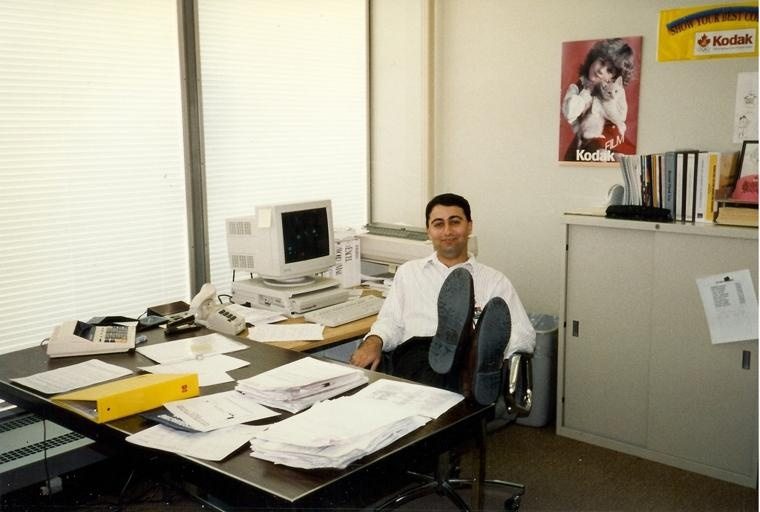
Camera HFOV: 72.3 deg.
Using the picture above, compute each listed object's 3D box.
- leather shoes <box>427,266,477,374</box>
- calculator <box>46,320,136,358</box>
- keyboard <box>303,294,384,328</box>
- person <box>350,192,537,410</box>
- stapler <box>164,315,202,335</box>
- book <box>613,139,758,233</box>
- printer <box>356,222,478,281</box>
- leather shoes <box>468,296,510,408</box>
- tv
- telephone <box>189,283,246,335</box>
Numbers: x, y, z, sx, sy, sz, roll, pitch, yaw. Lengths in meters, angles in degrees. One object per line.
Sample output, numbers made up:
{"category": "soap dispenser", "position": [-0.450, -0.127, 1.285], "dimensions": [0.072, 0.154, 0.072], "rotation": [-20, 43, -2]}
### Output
{"category": "leather shoes", "position": [0.339, 0.301, 2.429], "dimensions": [0.196, 0.521, 0.236], "rotation": [22, 10, 40]}
{"category": "calculator", "position": [-1.390, 0.396, 2.519], "dimensions": [0.427, 0.108, 0.363], "rotation": [1, 8, -8]}
{"category": "keyboard", "position": [-0.233, 0.284, 3.199], "dimensions": [0.440, 0.119, 0.396], "rotation": [-12, 21, -43]}
{"category": "person", "position": [0.359, 0.238, 2.823], "dimensions": [0.606, 1.179, 0.799], "rotation": [1, 3, 33]}
{"category": "stapler", "position": [-1.039, 0.367, 2.800], "dimensions": [0.067, 0.101, 0.237], "rotation": [-7, 0, 45]}
{"category": "book", "position": [1.835, -0.436, 3.125], "dimensions": [0.773, 0.407, 0.426], "rotation": [8, 18, 34]}
{"category": "printer", "position": [0.388, -0.083, 4.051], "dimensions": [1.107, 0.370, 0.548], "rotation": [11, 15, 39]}
{"category": "leather shoes", "position": [0.457, 0.412, 2.189], "dimensions": [0.181, 0.438, 0.198], "rotation": [6, 18, 12]}
{"category": "tv", "position": [-0.678, -0.138, 3.390], "dimensions": [0.595, 0.490, 0.615], "rotation": [7, 13, 35]}
{"category": "telephone", "position": [-0.890, 0.298, 2.865], "dimensions": [0.332, 0.214, 0.217], "rotation": [22, 22, 16]}
